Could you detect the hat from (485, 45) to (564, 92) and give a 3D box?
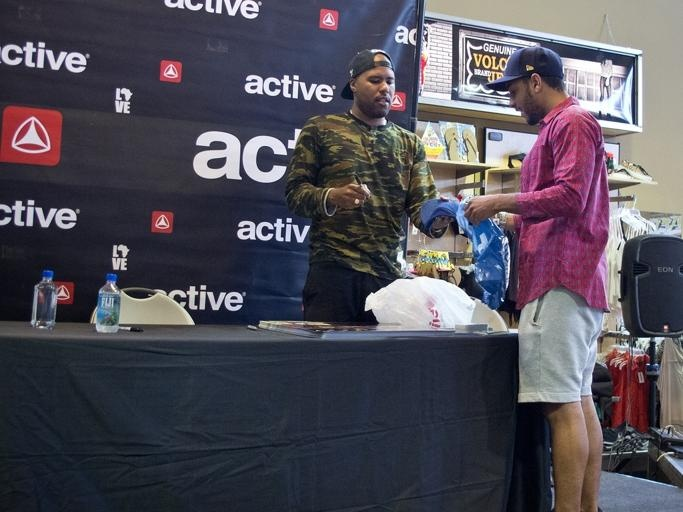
[{"bbox_3d":[0.827,-0.842,2.883,0.287,0.166,0.184,2,7,13],"label":"hat"}]

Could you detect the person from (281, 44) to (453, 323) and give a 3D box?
[{"bbox_3d":[0.099,-0.362,3.142,0.713,1.286,0.500,-7,14,-40],"label":"person"}]

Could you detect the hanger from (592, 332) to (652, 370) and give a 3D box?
[{"bbox_3d":[2.098,0.718,4.805,0.550,0.328,0.041,3,-5,-33],"label":"hanger"}]

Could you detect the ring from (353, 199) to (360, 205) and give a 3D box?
[{"bbox_3d":[0.064,-0.235,2.773,0.024,0.036,0.019,1,-6,13],"label":"ring"}]
